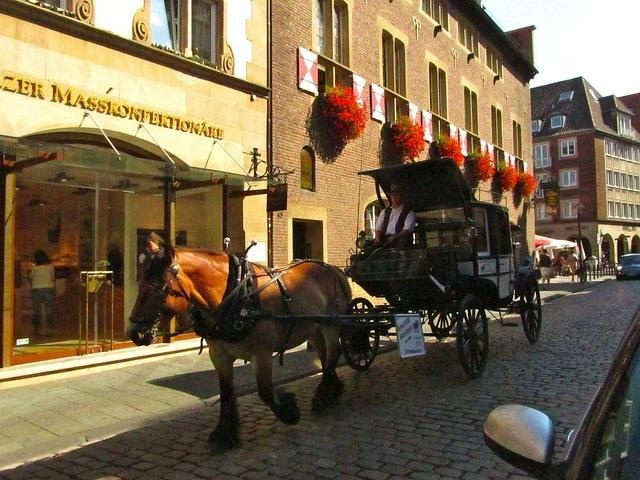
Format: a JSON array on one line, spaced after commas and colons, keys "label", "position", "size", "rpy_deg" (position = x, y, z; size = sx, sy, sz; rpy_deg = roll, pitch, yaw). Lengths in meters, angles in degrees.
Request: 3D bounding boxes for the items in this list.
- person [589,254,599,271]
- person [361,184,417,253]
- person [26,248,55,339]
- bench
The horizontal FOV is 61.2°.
[{"label": "person", "position": [21.651, 1.831, 42.765], "size": [0.639, 1.241, 0.857], "rpy_deg": [2, 0, -12]}, {"label": "person", "position": [1.225, -0.232, 9.019], "size": [0.744, 1.478, 0.760], "rpy_deg": [0, -5, 41]}, {"label": "person", "position": [-4.896, 0.957, 9.600], "size": [0.174, 1.527, 0.490], "rpy_deg": [-1, 2, 22]}, {"label": "bench", "position": [1.911, 0.132, 8.796], "size": [0.788, 0.849, 1.091], "rpy_deg": [1, 4, 32]}]
